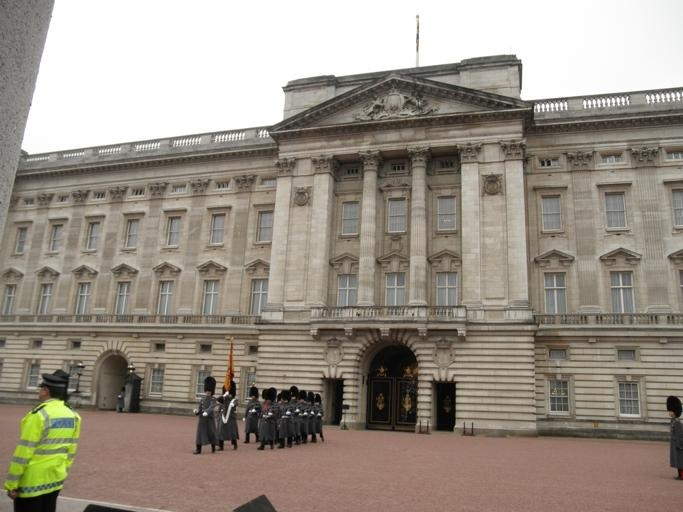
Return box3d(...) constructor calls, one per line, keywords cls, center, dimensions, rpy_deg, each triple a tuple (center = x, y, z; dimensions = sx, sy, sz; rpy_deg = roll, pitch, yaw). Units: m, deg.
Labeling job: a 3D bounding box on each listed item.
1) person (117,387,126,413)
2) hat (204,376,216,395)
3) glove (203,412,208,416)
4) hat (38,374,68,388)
box3d(cls="person", center=(-15.010, 9.928, 40.051), dimensions=(0.509, 1.510, 0.486), rpy_deg=(2, -16, -7))
box3d(cls="hat", center=(-4.637, 4.611, 20.651), dimensions=(0.322, 0.585, 0.724), rpy_deg=(5, -15, -16))
box3d(cls="glove", center=(-4.633, 5.398, 19.875), dimensions=(0.101, 0.118, 0.041), rpy_deg=(0, -4, 2))
box3d(cls="hat", center=(-4.610, 1.987, 9.279), dimensions=(0.333, 0.119, 0.271), rpy_deg=(-3, -9, 35))
